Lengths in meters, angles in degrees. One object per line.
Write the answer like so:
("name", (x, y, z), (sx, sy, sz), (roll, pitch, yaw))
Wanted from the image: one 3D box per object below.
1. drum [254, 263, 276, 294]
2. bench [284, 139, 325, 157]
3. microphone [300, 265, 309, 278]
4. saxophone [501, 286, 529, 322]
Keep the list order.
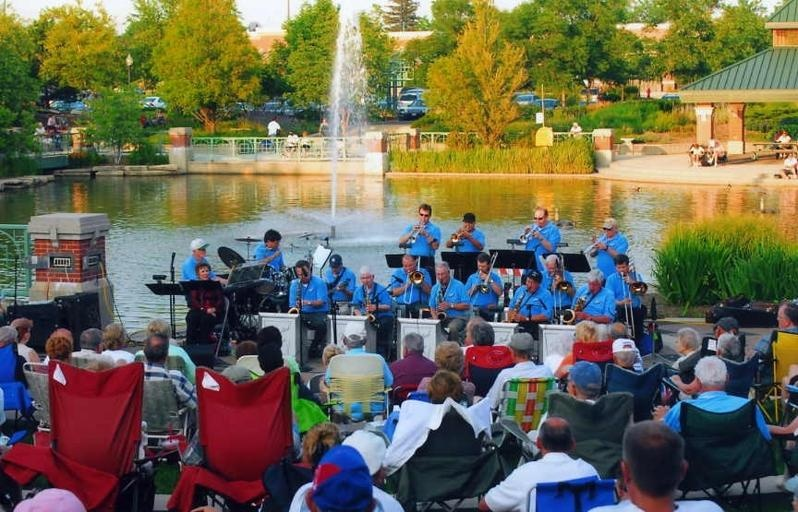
("drum", (-4.974, 0.867, 62.286), (0.516, 1.190, 0.817), (-2, 3, 35))
("bench", (-5.279, -6.065, 94.269), (2.364, 1.056, 0.501), (-3, 2, -2))
("microphone", (-3.541, 0.607, 62.229), (0.320, 0.267, 0.368), (-4, 6, -3))
("saxophone", (4.339, 1.877, 62.207), (0.559, 1.356, 0.308), (46, 2, 34))
